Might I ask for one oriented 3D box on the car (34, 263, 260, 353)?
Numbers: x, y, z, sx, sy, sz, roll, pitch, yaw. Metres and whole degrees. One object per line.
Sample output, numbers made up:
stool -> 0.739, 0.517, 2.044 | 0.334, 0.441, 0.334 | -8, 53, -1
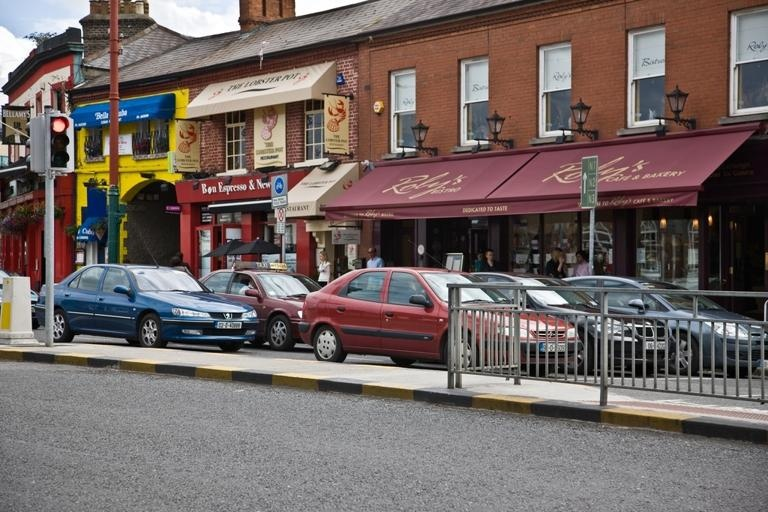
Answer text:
car -> -5.101, 1.078, 21.070 | 4.503, 1.726, 1.556 | 2, 7, 21

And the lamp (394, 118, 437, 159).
lamp -> 0.937, -3.449, 28.700 | 1.288, 1.027, 1.032 | 1, 2, 37

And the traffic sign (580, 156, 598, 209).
traffic sign -> 4.409, -1.594, 21.048 | 0.328, 1.106, 1.036 | 0, 7, 10

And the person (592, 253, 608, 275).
person -> 5.565, 0.219, 25.223 | 0.504, 0.529, 0.949 | 2, 0, 9

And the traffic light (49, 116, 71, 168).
traffic light -> -6.402, -2.247, 19.270 | 0.433, 1.058, 0.231 | -4, 7, -31

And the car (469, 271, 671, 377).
car -> 3.012, 1.037, 14.439 | 1.087, 0.887, 2.510 | 1, -3, -45

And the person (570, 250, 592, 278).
person -> 4.965, 0.176, 24.648 | 0.263, 0.832, 0.406 | 16, -22, -18

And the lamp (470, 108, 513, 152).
lamp -> 3.111, -3.454, 27.144 | 1.194, 1.072, 0.408 | 5, 1, 25

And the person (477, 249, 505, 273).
person -> 2.959, 0.132, 26.993 | 0.546, 1.207, 0.410 | 0, -9, -17

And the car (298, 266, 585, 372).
car -> 0.631, 1.042, 16.665 | 3.795, 1.340, 1.822 | -5, -6, 44

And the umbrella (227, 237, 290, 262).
umbrella -> -4.026, -0.241, 30.804 | 1.082, 0.531, 1.110 | 2, -3, -30

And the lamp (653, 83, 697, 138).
lamp -> 7.061, -3.582, 23.908 | 0.875, 1.168, 0.890 | -3, 7, -20

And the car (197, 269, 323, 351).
car -> -2.711, 1.143, 22.644 | 2.537, 1.136, 1.533 | -3, -5, 40

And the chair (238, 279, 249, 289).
chair -> -3.269, 0.644, 22.787 | 0.173, 0.245, 0.237 | -2, 5, -27
